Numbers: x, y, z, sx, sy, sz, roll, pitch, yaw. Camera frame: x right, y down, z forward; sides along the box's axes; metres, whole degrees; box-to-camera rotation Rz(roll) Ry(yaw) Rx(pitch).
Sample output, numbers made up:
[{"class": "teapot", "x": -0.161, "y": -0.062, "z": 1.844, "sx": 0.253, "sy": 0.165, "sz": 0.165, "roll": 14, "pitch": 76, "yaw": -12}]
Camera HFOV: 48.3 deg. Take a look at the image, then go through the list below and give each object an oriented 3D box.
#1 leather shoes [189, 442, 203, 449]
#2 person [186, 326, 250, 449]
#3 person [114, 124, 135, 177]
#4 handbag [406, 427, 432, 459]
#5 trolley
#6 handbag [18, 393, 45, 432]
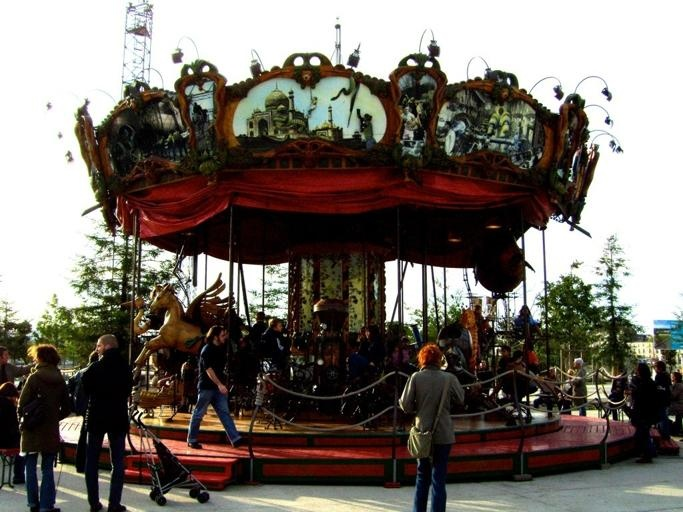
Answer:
[{"class": "leather shoes", "x": -2.522, "y": 3.263, "z": 13.158, "sx": 0.211, "sy": 0.099, "sz": 0.113, "roll": -1, "pitch": -2, "yaw": 17}, {"class": "person", "x": -2.197, "y": 2.268, "z": 13.071, "sx": 0.986, "sy": 2.092, "sz": 0.621, "roll": -4, "pitch": -8, "yaw": 40}, {"class": "person", "x": -4.606, "y": -2.226, "z": 16.203, "sx": 0.486, "sy": 1.444, "sz": 0.157, "roll": -11, "pitch": -21, "yaw": 9}, {"class": "handbag", "x": 1.045, "y": 2.526, "z": 10.241, "sx": 0.333, "sy": 0.437, "sz": 0.146, "roll": -1, "pitch": -6, "yaw": 20}, {"class": "trolley", "x": -2.913, "y": 3.150, "z": 12.118, "sx": 0.957, "sy": 1.272, "sz": 2.233, "roll": 4, "pitch": -8, "yaw": -27}, {"class": "handbag", "x": -4.372, "y": 2.210, "z": 10.759, "sx": 0.367, "sy": 0.370, "sz": 0.124, "roll": -30, "pitch": -17, "yaw": 5}]
